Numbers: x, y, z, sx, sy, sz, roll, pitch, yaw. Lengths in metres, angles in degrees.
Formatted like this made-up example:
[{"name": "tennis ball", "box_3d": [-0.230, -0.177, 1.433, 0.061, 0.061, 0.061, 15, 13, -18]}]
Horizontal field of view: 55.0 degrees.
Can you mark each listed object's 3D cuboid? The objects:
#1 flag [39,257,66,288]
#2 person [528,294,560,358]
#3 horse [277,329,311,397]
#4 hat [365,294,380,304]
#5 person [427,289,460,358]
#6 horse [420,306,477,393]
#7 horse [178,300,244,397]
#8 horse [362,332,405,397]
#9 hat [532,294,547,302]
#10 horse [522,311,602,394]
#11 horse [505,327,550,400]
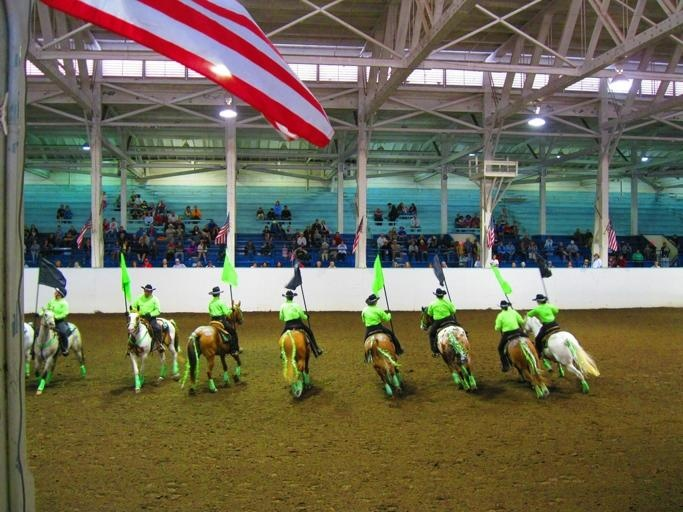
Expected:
[{"name": "flag", "box_3d": [-6.589, 0.466, 14.921, 0.485, 0.794, 1.126, -6, 12, -26]}, {"name": "person", "box_3d": [4.979, 1.713, 16.318, 0.760, 1.474, 0.753, -2, 11, 6]}, {"name": "horse", "box_3d": [-1.069, 2.443, 16.381, 0.582, 1.647, 2.520, -8, 0, 5]}, {"name": "hat", "box_3d": [0.765, 1.061, 15.955, 0.244, 0.111, 0.290, 3, 17, 33]}, {"name": "person", "box_3d": [2.445, 1.466, 16.982, 0.755, 1.443, 1.782, -2, 8, 0]}, {"name": "horse", "box_3d": [2.721, 2.227, 16.162, 0.907, 1.990, 1.319, -3, 11, -14]}, {"name": "horse", "box_3d": [-3.326, 2.421, 16.903, 1.476, 1.858, 2.550, -2, 11, -6]}, {"name": "horse", "box_3d": [1.001, 2.574, 15.610, 0.869, 1.475, 0.537, 0, 11, 2]}, {"name": "hat", "box_3d": [4.885, 1.055, 16.195, 0.310, 0.252, 0.486, -1, 4, 9]}, {"name": "horse", "box_3d": [5.374, 2.309, 16.303, 0.644, 1.639, 2.950, -21, 8, -8]}, {"name": "horse", "box_3d": [4.504, 2.578, 15.767, 1.160, 1.345, 1.018, 7, 13, 36]}]
